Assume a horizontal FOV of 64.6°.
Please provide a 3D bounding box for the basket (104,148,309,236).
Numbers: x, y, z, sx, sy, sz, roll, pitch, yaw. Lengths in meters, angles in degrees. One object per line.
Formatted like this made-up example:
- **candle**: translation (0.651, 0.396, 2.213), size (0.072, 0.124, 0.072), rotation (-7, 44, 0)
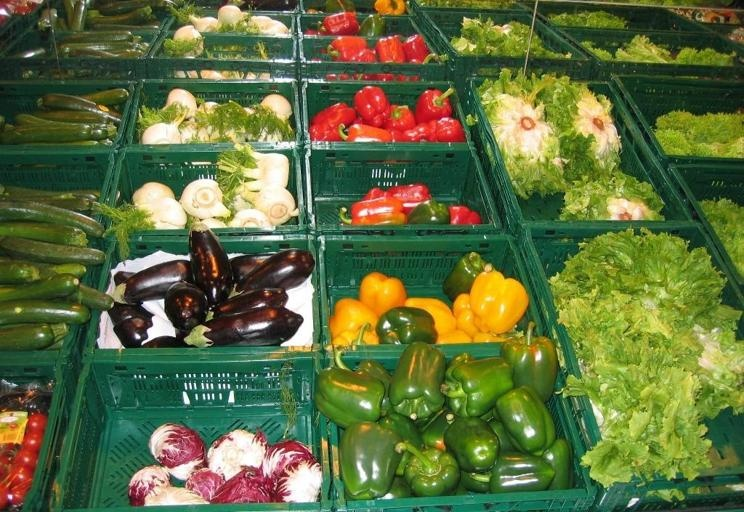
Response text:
- **basket**: translation (-1.606, -0.809, 5.727), size (1.552, 0.562, 0.989), rotation (0, 79, -12)

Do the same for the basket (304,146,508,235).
- **basket**: translation (0.257, -0.416, 6.366), size (1.590, 0.538, 1.061), rotation (0, 59, -5)

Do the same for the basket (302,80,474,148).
- **basket**: translation (0.135, -1.541, 6.701), size (1.464, 0.544, 0.872), rotation (-2, 67, -3)

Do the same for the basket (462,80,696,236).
- **basket**: translation (2.127, -0.936, 6.306), size (1.834, 0.648, 2.209), rotation (0, 47, -8)

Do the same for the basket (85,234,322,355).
- **basket**: translation (-1.290, 0.309, 4.990), size (1.511, 0.981, 1.442), rotation (0, 22, -1)

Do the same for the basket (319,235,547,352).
- **basket**: translation (0.569, 0.264, 5.090), size (1.535, 0.677, 1.091), rotation (-2, 49, 2)
